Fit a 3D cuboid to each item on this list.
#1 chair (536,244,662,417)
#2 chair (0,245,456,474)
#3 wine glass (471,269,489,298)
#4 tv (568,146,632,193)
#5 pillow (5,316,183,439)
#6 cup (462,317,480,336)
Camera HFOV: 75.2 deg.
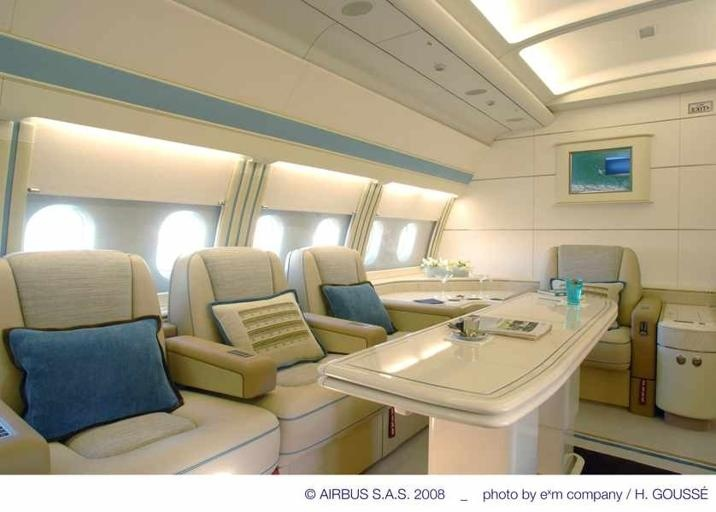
[{"bbox_3d":[2.322,0.628,4.701,1.265,1.371,1.268,0,5,22],"label":"chair"},{"bbox_3d":[-0.827,0.617,2.700,0.599,0.642,1.585,3,4,37],"label":"chair"},{"bbox_3d":[1.453,0.328,5.523,0.267,0.308,0.268,4,11,19],"label":"wine glass"},{"bbox_3d":[2.812,-0.988,5.339,0.607,0.500,0.062,0,-6,40],"label":"tv"},{"bbox_3d":[-1.414,0.648,2.430,0.601,0.419,0.208,-1,-18,-43],"label":"pillow"},{"bbox_3d":[0.604,0.386,2.542,0.093,0.088,0.092,0,5,0],"label":"cup"}]
